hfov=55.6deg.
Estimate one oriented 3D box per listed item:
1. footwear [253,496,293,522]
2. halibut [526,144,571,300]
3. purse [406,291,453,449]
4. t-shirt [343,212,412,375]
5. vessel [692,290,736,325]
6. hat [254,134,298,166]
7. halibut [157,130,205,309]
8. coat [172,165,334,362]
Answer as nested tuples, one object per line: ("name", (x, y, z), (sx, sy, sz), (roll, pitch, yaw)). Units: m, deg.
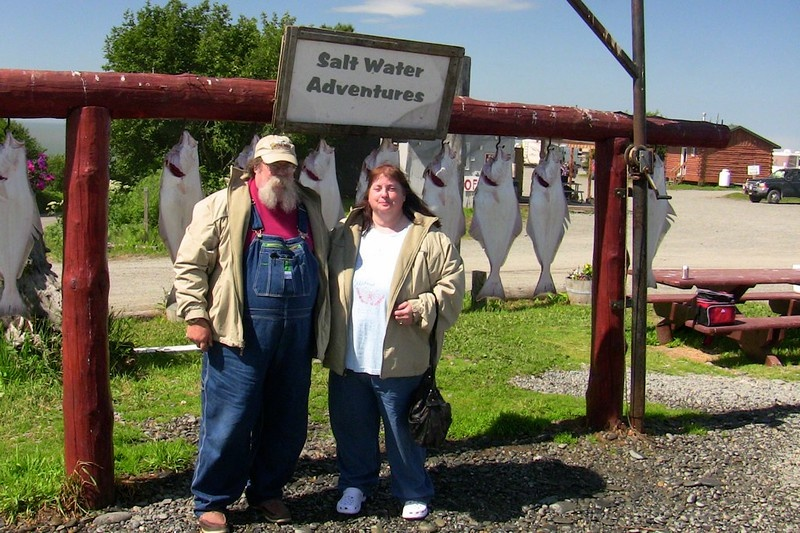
("footwear", (-0.997, 1.920, 5.988), (0.317, 0.130, 0.127), (0, -2, 43))
("halibut", (1.626, -0.438, 8.316), (0.439, 1.782, 1.223), (4, 12, 11))
("purse", (0.230, 0.888, 5.860), (0.316, 0.987, 0.306), (-6, 14, -34))
("t-shirt", (-0.182, 0.264, 5.942), (0.363, 1.097, 0.387), (4, 12, 15))
("vessel", (3.827, 0.479, 9.190), (0.432, 0.415, 0.417), (1, -2, -29))
("hat", (-0.946, -0.883, 5.757), (0.211, 0.151, 0.298), (5, 4, -21))
("halibut", (-1.880, -0.425, 6.661), (0.496, 1.442, 0.389), (-1, -1, -11))
("coat", (-1.110, -0.005, 5.747), (1.675, 1.589, 0.942), (1, 1, -24))
